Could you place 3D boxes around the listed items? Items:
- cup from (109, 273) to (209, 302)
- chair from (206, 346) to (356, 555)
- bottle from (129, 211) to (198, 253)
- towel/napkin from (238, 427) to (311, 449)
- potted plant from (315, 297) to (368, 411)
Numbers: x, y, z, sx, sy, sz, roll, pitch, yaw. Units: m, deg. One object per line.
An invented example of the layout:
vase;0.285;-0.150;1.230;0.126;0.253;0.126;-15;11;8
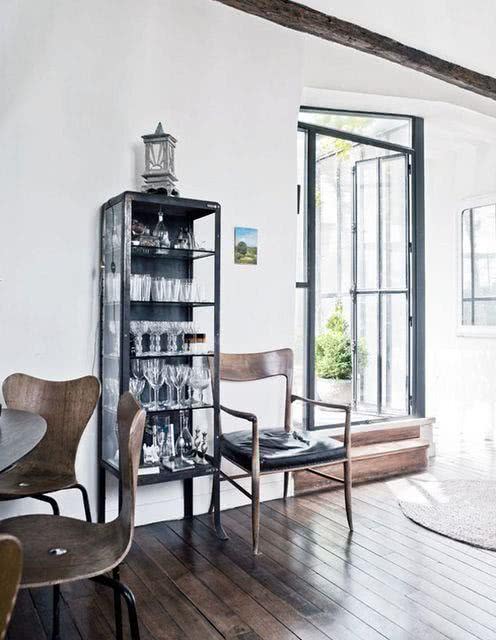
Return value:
cup;-0.409;-0.148;2.688;0.495;0.135;0.244;0;1;-22
chair;0.148;0.642;2.887;0.612;1.107;0.714;-1;-6;-11
bottle;-0.365;-0.412;2.710;0.380;0.288;0.126;-5;6;-44
towel/napkin;0.177;0.588;2.882;0.246;0.032;0.435;0;1;1
potted plant;0.715;0.298;4.856;0.517;1.159;0.647;0;0;14
